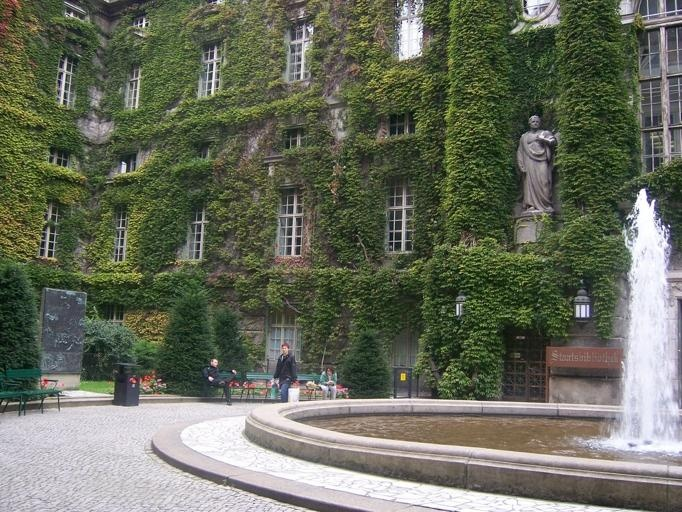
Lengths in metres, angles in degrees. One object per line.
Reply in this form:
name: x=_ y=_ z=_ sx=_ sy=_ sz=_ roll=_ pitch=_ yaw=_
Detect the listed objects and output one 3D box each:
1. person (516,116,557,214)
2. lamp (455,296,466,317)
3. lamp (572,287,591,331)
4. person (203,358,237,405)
person: x=6.986 y=-3.252 z=28.695 sx=1.265 sy=3.450 sz=1.082 roll=2 pitch=6 yaw=34
lamp: x=4.018 y=1.720 z=27.049 sx=0.343 sy=0.768 sz=0.301 roll=-1 pitch=5 yaw=9
lamp: x=7.810 y=1.723 z=25.949 sx=0.517 sy=1.346 sz=0.543 roll=1 pitch=5 yaw=21
person: x=-4.126 y=4.153 z=26.950 sx=1.115 sy=1.272 sz=0.785 roll=8 pitch=3 yaw=6
